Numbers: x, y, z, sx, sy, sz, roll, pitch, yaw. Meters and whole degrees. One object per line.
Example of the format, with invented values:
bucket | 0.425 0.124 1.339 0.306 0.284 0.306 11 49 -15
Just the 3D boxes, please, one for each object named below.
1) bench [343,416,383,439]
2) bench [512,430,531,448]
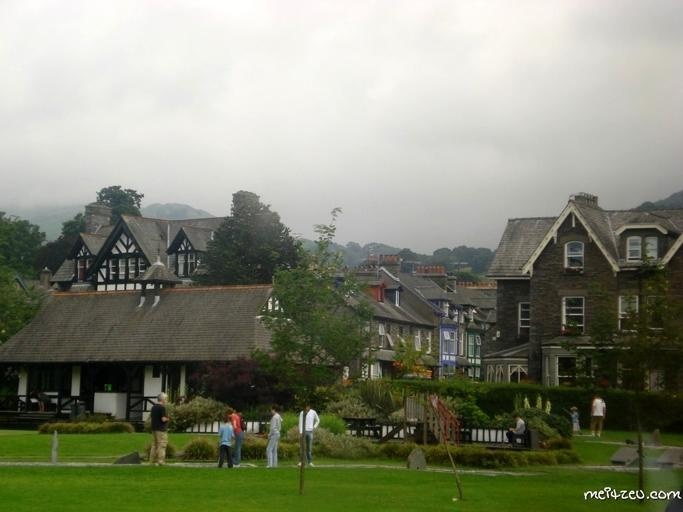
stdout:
bench | 0.844 6.499 40.039 1.438 0.854 1.208 1 -14 2
bench | 6.326 6.416 36.930 0.553 0.687 0.741 1 -6 0
